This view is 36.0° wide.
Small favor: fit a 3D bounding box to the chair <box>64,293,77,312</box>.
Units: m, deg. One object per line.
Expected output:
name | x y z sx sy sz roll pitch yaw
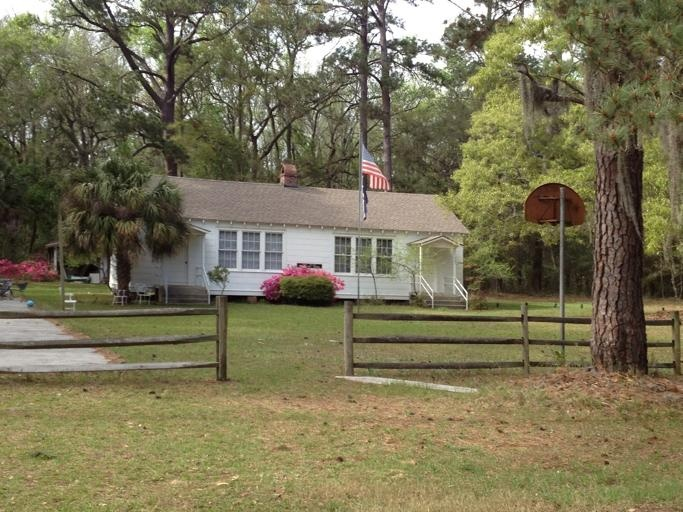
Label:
chair | -9.378 1.606 36.038 0.543 0.864 0.616 0 -6 -17
